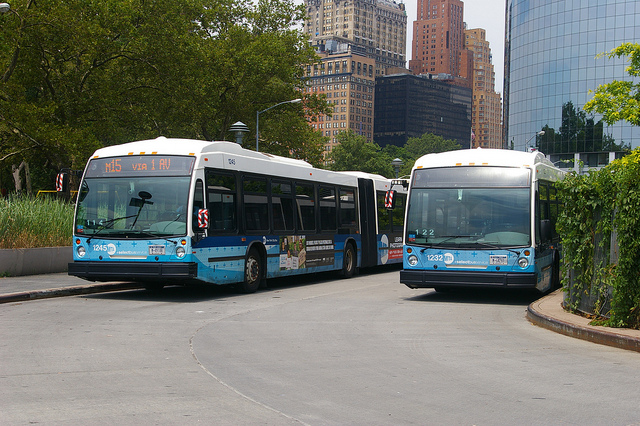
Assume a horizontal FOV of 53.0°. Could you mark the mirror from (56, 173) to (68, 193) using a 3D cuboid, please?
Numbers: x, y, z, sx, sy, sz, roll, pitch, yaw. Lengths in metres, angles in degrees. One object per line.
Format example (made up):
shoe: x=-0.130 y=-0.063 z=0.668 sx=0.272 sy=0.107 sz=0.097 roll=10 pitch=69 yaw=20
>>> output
mirror: x=-6.899 y=-0.830 z=17.065 sx=0.281 sy=0.502 sz=0.585 roll=0 pitch=2 yaw=-22

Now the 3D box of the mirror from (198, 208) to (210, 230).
mirror: x=-2.963 y=0.138 z=16.320 sx=0.291 sy=0.526 sz=0.867 roll=1 pitch=1 yaw=-11

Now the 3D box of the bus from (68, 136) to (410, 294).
bus: x=-1.133 y=0.167 z=22.366 sx=3.686 sy=4.457 sz=15.449 roll=2 pitch=2 yaw=31
